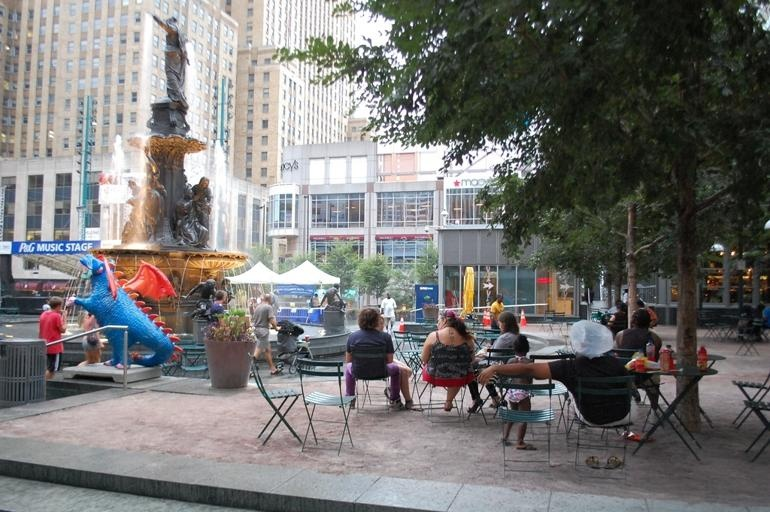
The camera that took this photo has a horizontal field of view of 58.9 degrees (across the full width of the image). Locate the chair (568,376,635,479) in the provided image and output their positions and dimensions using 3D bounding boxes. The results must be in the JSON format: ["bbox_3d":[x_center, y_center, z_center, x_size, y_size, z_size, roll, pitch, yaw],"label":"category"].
[{"bbox_3d":[3.324,2.464,10.414,0.905,1.392,1.919,-1,-3,17],"label":"chair"}]

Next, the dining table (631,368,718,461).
[{"bbox_3d":[4.642,2.509,11.417,1.568,1.207,1.658,0,4,6],"label":"dining table"}]

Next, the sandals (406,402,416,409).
[{"bbox_3d":[0.494,2.852,12.956,0.199,0.139,0.215,-1,-3,4],"label":"sandals"}]

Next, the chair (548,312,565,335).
[{"bbox_3d":[7.752,3.124,30.869,0.926,1.235,0.929,0,-8,-4],"label":"chair"}]

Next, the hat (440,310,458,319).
[{"bbox_3d":[1.237,1.134,12.785,0.308,0.145,0.384,2,-3,3],"label":"hat"}]

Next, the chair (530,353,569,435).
[{"bbox_3d":[2.904,2.581,12.264,0.733,1.078,0.837,-5,-5,-1],"label":"chair"}]

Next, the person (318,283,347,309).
[{"bbox_3d":[-1.825,1.562,24.631,0.579,0.785,1.301,0,-3,-12],"label":"person"}]

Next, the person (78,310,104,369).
[{"bbox_3d":[-6.680,1.924,15.590,0.418,1.180,2.591,0,-3,-24],"label":"person"}]

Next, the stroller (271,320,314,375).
[{"bbox_3d":[-2.340,2.329,17.724,0.923,1.205,0.795,-5,5,-34],"label":"stroller"}]

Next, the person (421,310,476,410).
[{"bbox_3d":[1.210,1.937,12.768,1.269,1.734,1.195,-1,1,-44],"label":"person"}]

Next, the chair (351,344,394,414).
[{"bbox_3d":[-0.177,2.300,13.256,0.841,1.190,1.528,-1,-3,-1],"label":"chair"}]

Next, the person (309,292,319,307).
[{"bbox_3d":[-4.147,2.819,40.718,0.548,0.583,1.593,-2,-18,-5],"label":"person"}]

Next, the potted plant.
[{"bbox_3d":[-3.248,2.121,14.540,1.251,1.512,1.233,-10,-25,28],"label":"potted plant"}]

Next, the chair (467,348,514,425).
[{"bbox_3d":[2.319,2.386,12.636,0.892,1.109,0.773,25,-20,-26],"label":"chair"}]

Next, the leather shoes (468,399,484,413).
[{"bbox_3d":[1.684,2.825,12.642,0.176,0.138,0.432,0,-30,-9],"label":"leather shoes"}]

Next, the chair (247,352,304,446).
[{"bbox_3d":[-1.821,2.397,11.559,1.339,1.847,1.275,0,-1,-9],"label":"chair"}]

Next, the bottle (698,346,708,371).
[{"bbox_3d":[5.253,1.697,11.315,0.124,0.357,0.324,-2,-3,21],"label":"bottle"}]

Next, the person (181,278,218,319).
[{"bbox_3d":[-4.998,1.249,19.204,1.089,1.275,0.788,6,16,-15],"label":"person"}]

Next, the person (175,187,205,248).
[{"bbox_3d":[-6.116,-1.212,21.349,0.528,1.945,0.765,-3,-3,44],"label":"person"}]

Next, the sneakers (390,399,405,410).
[{"bbox_3d":[0.244,2.869,12.928,0.269,0.106,0.116,7,-6,-43],"label":"sneakers"}]

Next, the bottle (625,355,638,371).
[{"bbox_3d":[4.058,1.801,11.287,0.149,0.147,0.539,0,-9,9],"label":"bottle"}]

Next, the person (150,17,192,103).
[{"bbox_3d":[-6.695,-6.218,21.786,0.695,2.983,1.338,-1,-2,10],"label":"person"}]
